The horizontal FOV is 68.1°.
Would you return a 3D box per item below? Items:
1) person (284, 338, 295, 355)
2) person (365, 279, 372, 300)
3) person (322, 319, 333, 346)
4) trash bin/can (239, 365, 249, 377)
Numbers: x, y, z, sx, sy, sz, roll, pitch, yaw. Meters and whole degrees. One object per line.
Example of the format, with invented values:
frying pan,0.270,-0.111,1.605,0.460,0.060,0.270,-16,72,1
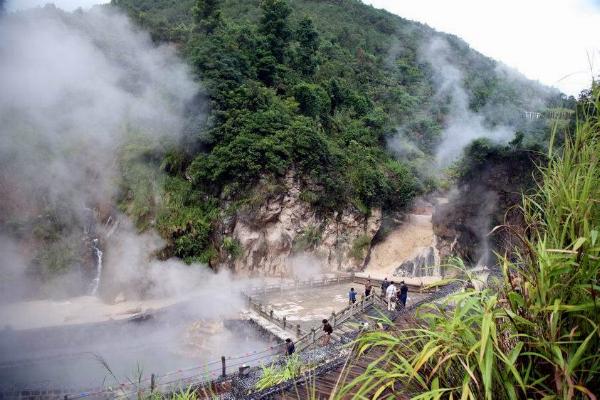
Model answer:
person,-0.482,6.726,20.326,0.358,0.744,1.185,-3,0,-3
person,3.604,4.862,23.510,0.337,0.963,0.544,-3,0,15
person,1.350,6.460,21.727,0.489,1.187,0.908,-3,0,2
trash bin/can,-2.270,7.150,18.328,0.338,0.364,0.331,2,-2,-44
